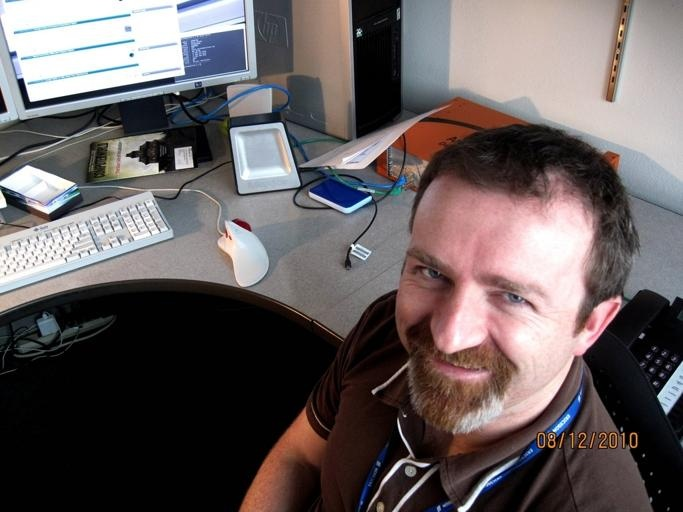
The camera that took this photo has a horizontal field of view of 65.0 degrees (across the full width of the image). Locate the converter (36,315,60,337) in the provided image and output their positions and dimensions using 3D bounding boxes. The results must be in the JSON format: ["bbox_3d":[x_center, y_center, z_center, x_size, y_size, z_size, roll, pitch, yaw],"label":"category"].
[{"bbox_3d":[-0.852,0.198,1.551,0.044,0.056,0.036,-28,54,-23],"label":"converter"}]

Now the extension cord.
[{"bbox_3d":[-0.852,0.233,1.714,0.311,0.073,0.072,-22,4,-14],"label":"extension cord"}]

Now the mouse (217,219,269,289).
[{"bbox_3d":[-0.277,-0.026,1.539,0.136,0.068,0.217,-21,59,-18],"label":"mouse"}]
